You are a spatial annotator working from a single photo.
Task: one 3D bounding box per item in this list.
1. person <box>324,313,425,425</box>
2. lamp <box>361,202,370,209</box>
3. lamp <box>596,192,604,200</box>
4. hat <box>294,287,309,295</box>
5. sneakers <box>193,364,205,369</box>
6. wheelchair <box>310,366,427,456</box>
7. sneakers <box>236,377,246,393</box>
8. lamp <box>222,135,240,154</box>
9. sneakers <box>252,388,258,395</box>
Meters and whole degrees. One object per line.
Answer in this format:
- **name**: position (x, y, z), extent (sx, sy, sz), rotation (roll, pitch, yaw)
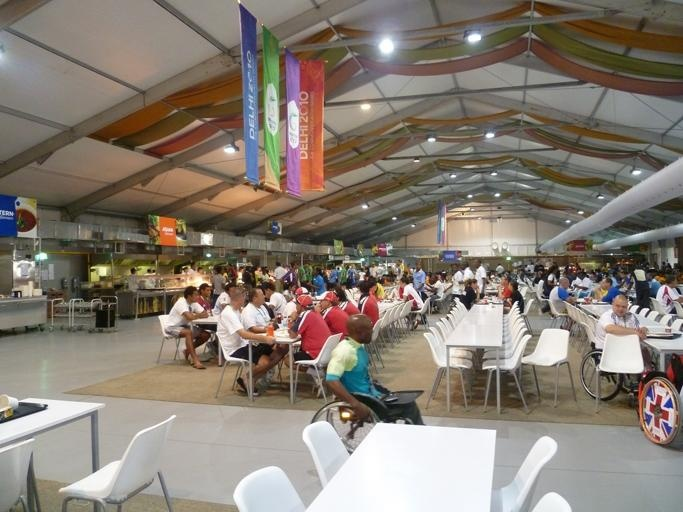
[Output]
- **person**: position (0.371, 1.287, 4.881), extent (1.062, 1.380, 0.736), rotation (2, 18, 2)
- **lamp**: position (1.377, -2.752, 26.182), extent (0.318, 0.314, 0.326), rotation (-9, -4, -5)
- **lamp**: position (12.332, -2.834, 22.526), extent (0.456, 0.416, 0.230), rotation (-1, -3, 11)
- **hat**: position (-0.890, 0.833, 10.801), extent (0.313, 0.165, 0.202), rotation (-2, 5, -36)
- **sneakers**: position (-2.703, 2.119, 9.063), extent (0.086, 0.105, 0.281), rotation (5, -10, -43)
- **wheelchair**: position (0.258, 1.592, 4.917), extent (1.032, 0.884, 0.616), rotation (-10, -10, 18)
- **sneakers**: position (-1.586, 2.058, 7.604), extent (0.132, 0.124, 0.348), rotation (4, -2, -11)
- **lamp**: position (-3.043, -3.036, 13.338), extent (0.420, 0.570, 0.172), rotation (-3, -1, 14)
- **sneakers**: position (-1.328, 2.136, 7.438), extent (0.049, 0.064, 0.144), rotation (3, -3, 6)
